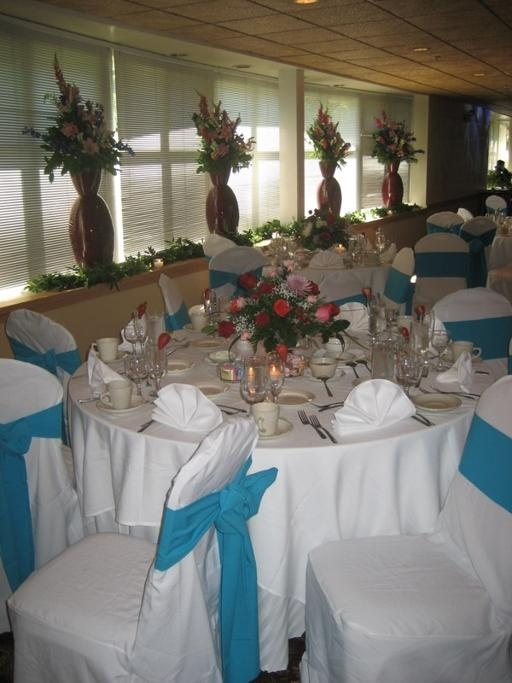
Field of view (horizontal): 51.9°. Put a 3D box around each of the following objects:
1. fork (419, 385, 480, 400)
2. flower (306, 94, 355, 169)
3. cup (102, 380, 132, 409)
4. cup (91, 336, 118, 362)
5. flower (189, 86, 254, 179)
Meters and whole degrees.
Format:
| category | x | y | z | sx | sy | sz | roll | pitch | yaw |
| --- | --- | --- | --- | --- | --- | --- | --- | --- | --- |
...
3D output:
| category | x | y | z | sx | sy | sz | roll | pitch | yaw |
| --- | --- | --- | --- | --- | --- | --- | --- | --- | --- |
| fork | 0.673 | 0.179 | 1.830 | 0.241 | 0.027 | 0.029 | 1 | -17 | 38 |
| flower | 0.945 | -2.584 | 6.645 | 0.446 | 0.742 | 0.535 | -10 | 14 | -25 |
| cup | -0.447 | 0.171 | 1.746 | 0.081 | 0.077 | 0.102 | 5 | 4 | 35 |
| cup | -0.671 | 0.034 | 2.321 | 0.120 | 0.094 | 0.094 | 3 | 12 | 9 |
| flower | -0.363 | -2.168 | 5.822 | 0.863 | 0.891 | 1.091 | -1 | 32 | 0 |
